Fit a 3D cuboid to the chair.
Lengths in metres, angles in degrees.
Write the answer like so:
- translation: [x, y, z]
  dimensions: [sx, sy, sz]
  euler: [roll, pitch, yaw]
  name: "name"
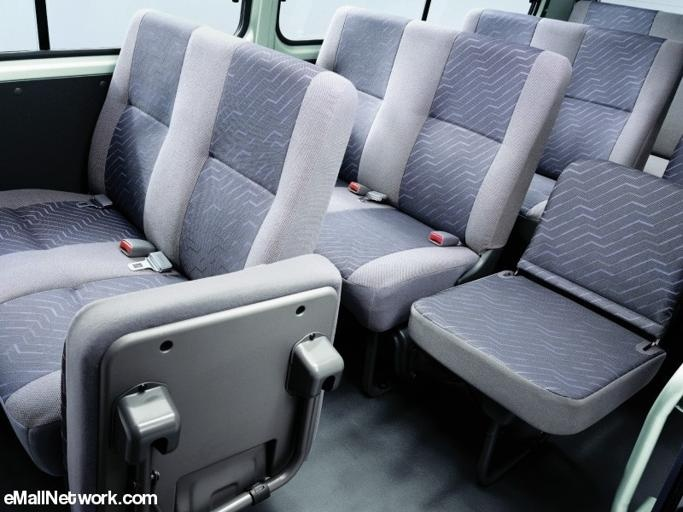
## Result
- translation: [-0.181, 0.181, 1.818]
  dimensions: [1.552, 1.457, 1.559]
  euler: [-17, 37, -39]
  name: "chair"
